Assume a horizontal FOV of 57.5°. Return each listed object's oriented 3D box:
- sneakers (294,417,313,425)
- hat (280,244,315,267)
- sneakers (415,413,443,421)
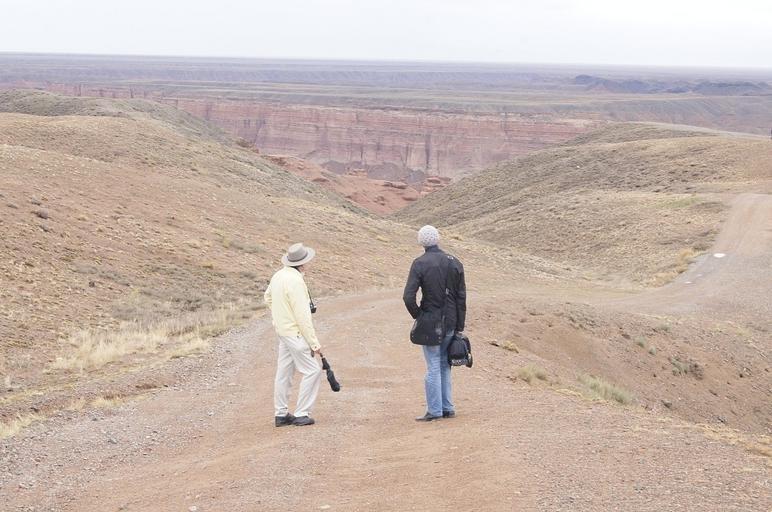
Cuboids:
[{"bbox_3d":[-1.669,3.319,14.231,0.539,0.133,0.146,0,4,-8],"label":"sneakers"},{"bbox_3d":[-1.688,0.010,14.187,0.692,0.174,0.587,15,40,31],"label":"hat"},{"bbox_3d":[0.856,3.296,14.472,0.632,0.142,0.170,2,-3,0],"label":"sneakers"}]
